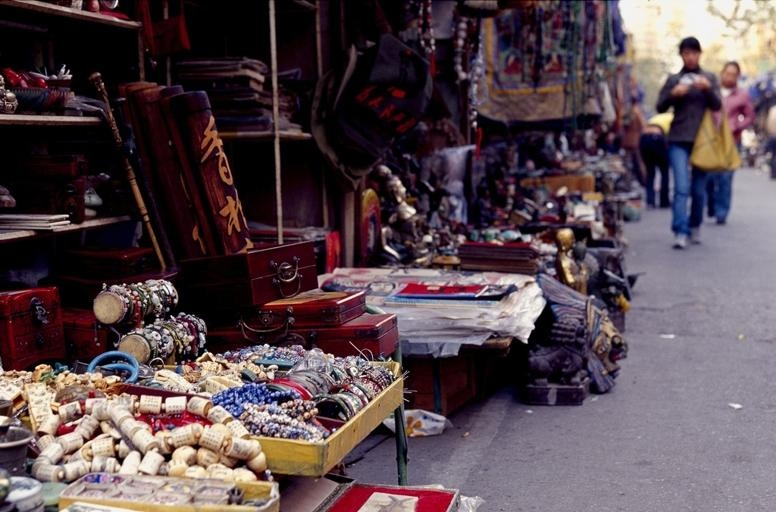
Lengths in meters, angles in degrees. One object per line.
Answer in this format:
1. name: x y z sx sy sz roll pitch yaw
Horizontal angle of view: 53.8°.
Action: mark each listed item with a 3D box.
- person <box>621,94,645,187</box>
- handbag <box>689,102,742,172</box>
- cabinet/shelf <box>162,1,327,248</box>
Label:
1. person: 4.065 -1.932 12.640 0.471 1.944 0.570 -1 34 15
2. handbag: 3.493 -1.214 8.090 0.551 0.630 0.416 6 18 43
3. cabinet/shelf: -0.832 -1.132 6.216 0.674 1.935 1.608 -7 13 0
